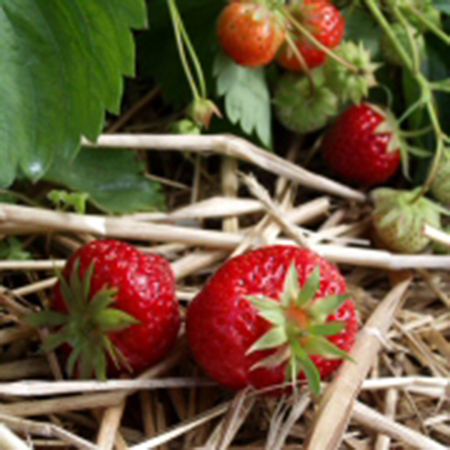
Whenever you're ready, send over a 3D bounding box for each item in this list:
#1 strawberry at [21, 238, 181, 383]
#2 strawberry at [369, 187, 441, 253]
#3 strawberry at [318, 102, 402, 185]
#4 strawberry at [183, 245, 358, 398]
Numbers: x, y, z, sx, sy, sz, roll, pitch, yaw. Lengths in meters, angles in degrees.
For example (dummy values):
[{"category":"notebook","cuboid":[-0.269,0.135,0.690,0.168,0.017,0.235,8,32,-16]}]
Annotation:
[{"category":"strawberry","cuboid":[-0.133,0.096,0.681,0.189,0.171,0.149,-32,97,-21]},{"category":"strawberry","cuboid":[0.261,-0.006,0.853,0.097,0.103,0.082,4,23,-3]},{"category":"strawberry","cuboid":[0.245,-0.103,0.924,0.130,0.120,0.119,32,11,-8]},{"category":"strawberry","cuboid":[0.075,0.083,0.641,0.189,0.137,0.200,-16,20,-38]}]
